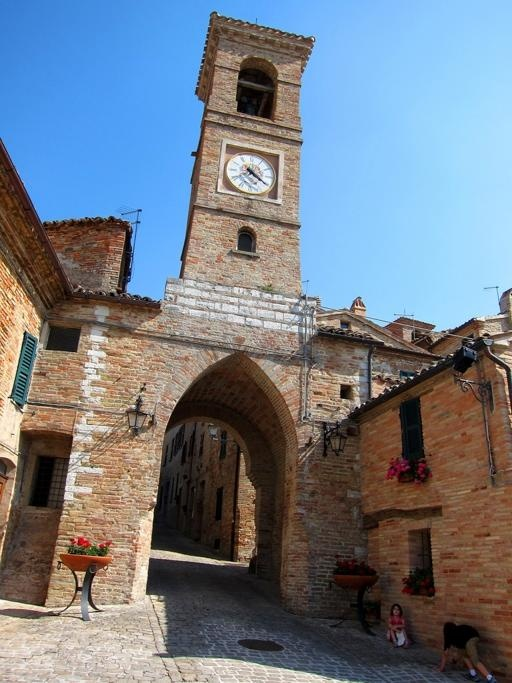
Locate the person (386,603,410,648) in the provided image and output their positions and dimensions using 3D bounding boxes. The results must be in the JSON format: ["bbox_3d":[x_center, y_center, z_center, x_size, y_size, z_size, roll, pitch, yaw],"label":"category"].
[{"bbox_3d":[2.374,4.770,9.822,0.417,0.688,0.532,-5,-55,13],"label":"person"}]

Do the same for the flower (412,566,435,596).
[{"bbox_3d":[2.858,4.051,9.886,0.245,0.428,0.622,9,-21,-11],"label":"flower"}]

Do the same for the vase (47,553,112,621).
[{"bbox_3d":[-2.757,3.893,9.481,0.727,0.784,0.719,9,-27,-12],"label":"vase"}]

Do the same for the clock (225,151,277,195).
[{"bbox_3d":[-0.183,-4.749,16.772,1.764,1.550,0.177,2,-25,-24],"label":"clock"}]

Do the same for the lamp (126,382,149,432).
[{"bbox_3d":[-2.367,1.301,11.919,0.448,1.117,0.606,9,-22,-9],"label":"lamp"}]

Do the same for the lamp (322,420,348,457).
[{"bbox_3d":[1.850,2.131,12.973,0.587,0.803,0.702,10,-22,-14],"label":"lamp"}]

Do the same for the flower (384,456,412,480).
[{"bbox_3d":[2.685,2.425,11.063,0.515,0.386,0.435,3,5,16],"label":"flower"}]

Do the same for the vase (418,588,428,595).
[{"bbox_3d":[2.804,4.156,9.819,0.093,0.145,0.163,7,-17,-13],"label":"vase"}]

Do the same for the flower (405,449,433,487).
[{"bbox_3d":[2.937,2.281,10.507,0.355,0.236,0.514,-4,11,10],"label":"flower"}]

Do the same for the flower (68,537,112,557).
[{"bbox_3d":[-2.878,3.551,10.179,0.659,0.273,0.636,0,-13,32],"label":"flower"}]

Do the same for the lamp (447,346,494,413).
[{"bbox_3d":[3.383,0.654,9.227,0.582,0.938,0.541,-1,-5,12],"label":"lamp"}]

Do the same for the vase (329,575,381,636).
[{"bbox_3d":[1.872,4.960,11.197,0.874,0.945,0.773,-3,-24,11],"label":"vase"}]

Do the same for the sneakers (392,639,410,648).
[{"bbox_3d":[2.367,4.920,9.574,0.255,0.087,0.150,0,-20,11],"label":"sneakers"}]
